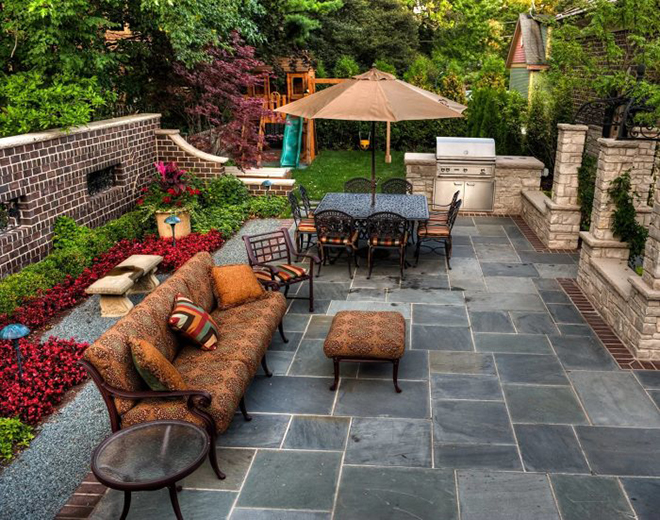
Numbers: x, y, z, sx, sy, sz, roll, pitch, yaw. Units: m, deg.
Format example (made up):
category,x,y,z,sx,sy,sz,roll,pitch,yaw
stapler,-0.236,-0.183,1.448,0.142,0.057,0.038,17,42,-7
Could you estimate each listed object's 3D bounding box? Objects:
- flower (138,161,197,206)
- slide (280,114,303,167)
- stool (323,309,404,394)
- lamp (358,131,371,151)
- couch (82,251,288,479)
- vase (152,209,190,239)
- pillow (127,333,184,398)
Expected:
category,x,y,z,sx,sy,sz,roll,pitch,yaw
flower,-3.271,-1.509,9.570,1.390,0.752,1.176,0,14,-20
slide,-1.392,-4.289,16.856,0.701,2.046,0.627,3,-14,3
stool,0.389,1.009,5.220,0.851,0.595,0.777,3,22,4
lamp,1.460,-5.016,19.522,0.730,0.938,0.755,0,22,1
couch,-1.324,0.820,4.958,1.254,0.880,2.875,9,16,-1
vase,-3.131,-0.695,9.066,0.773,0.428,0.665,-2,10,-2
pillow,-1.407,0.883,3.796,0.492,0.495,0.243,17,29,32
